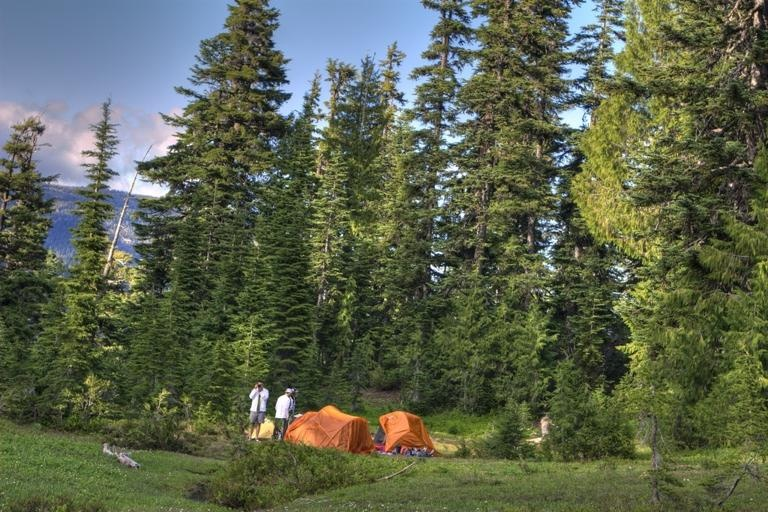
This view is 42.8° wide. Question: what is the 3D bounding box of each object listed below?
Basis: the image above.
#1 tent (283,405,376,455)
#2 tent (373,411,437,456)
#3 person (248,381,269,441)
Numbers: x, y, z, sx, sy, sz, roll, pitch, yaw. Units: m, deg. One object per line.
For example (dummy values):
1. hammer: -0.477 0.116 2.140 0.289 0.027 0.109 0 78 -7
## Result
1. tent: -3.170 9.466 53.066 3.586 1.296 2.591 3 -4 41
2. tent: 1.278 9.984 54.959 3.138 2.192 3.086 0 -4 17
3. person: -6.879 8.475 53.182 0.892 3.102 1.322 7 -17 -7
